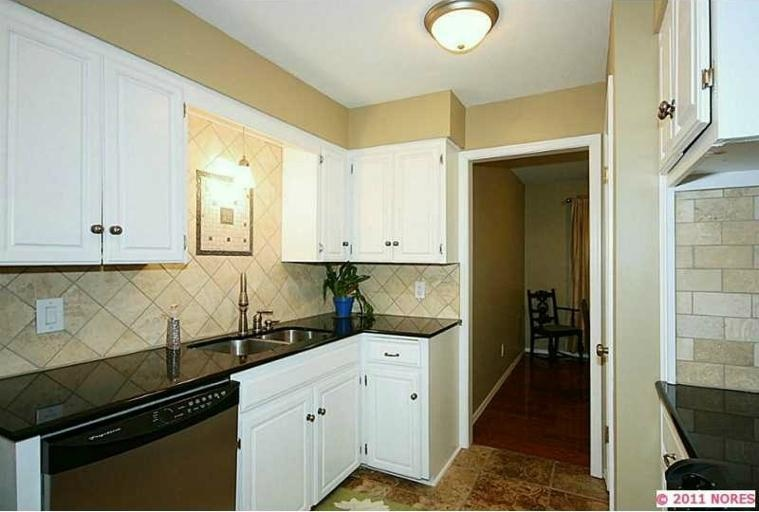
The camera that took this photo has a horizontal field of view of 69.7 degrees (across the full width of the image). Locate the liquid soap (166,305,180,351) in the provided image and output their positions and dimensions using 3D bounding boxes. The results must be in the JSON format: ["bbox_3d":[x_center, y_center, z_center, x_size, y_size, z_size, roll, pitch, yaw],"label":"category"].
[{"bbox_3d":[-1.245,0.420,3.256,0.088,0.265,0.227,-2,8,-20],"label":"liquid soap"}]

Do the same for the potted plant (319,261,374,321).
[{"bbox_3d":[-0.260,0.271,4.452,0.429,0.469,0.394,0,7,-6],"label":"potted plant"}]

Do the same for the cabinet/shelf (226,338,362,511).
[{"bbox_3d":[-0.475,1.078,3.357,0.251,0.964,1.099,4,8,25],"label":"cabinet/shelf"}]

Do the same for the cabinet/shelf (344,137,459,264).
[{"bbox_3d":[0.196,-0.401,4.126,0.945,1.126,0.425,-1,-2,24],"label":"cabinet/shelf"}]

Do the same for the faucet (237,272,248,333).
[{"bbox_3d":[-0.934,0.319,3.695,0.065,0.398,0.191,-1,8,-13],"label":"faucet"}]

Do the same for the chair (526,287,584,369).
[{"bbox_3d":[2.176,0.894,6.802,0.562,0.893,0.572,0,-1,-22],"label":"chair"}]
